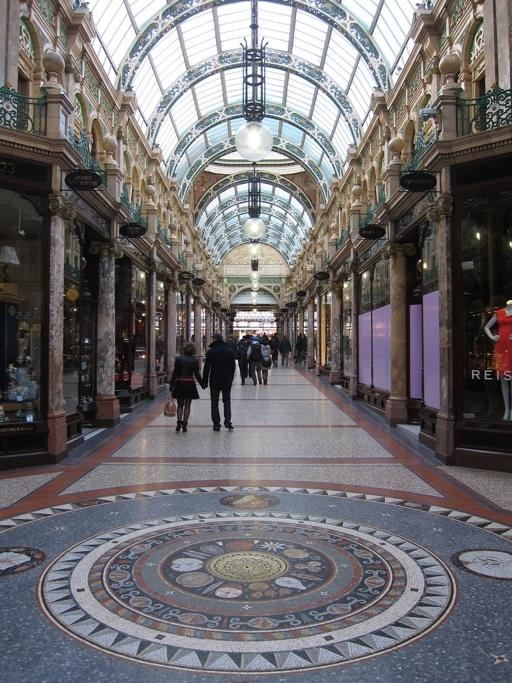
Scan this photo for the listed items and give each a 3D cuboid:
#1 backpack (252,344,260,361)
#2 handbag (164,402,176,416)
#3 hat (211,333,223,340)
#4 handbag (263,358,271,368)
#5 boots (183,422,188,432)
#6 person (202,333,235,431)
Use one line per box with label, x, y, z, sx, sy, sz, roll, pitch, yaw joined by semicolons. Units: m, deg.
backpack;0.010;0.490;20.736;0.348;0.680;0.601;0;-3;-2
handbag;-1.638;1.310;10.047;0.182;0.290;0.434;1;-3;-14
hat;-1.016;-0.101;13.414;0.393;0.102;0.405;0;-12;2
handbag;0.444;0.900;20.694;0.260;0.479;0.487;0;-1;12
boots;-1.356;1.658;10.056;0.138;0.232;0.137;0;1;-9
person;-0.735;0.821;10.287;0.609;1.838;1.575;0;-3;-4
